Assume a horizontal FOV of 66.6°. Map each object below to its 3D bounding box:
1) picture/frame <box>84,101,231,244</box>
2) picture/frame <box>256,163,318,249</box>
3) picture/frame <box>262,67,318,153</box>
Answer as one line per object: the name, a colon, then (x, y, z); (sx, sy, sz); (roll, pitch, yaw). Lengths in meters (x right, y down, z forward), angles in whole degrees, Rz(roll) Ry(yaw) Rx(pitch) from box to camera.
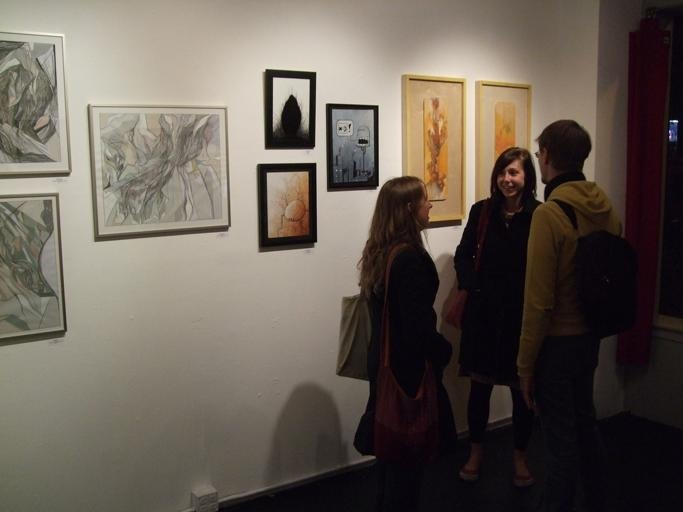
picture/frame: (-1.080, -0.492, 2.950); (0.675, 0.738, 0.050); (-6, 11, -29)
picture/frame: (-0.364, -0.335, 3.306); (0.441, 0.674, 0.061); (-5, 9, -29)
picture/frame: (-0.340, -0.933, 3.251); (0.448, 0.686, 0.048); (-4, 7, -31)
